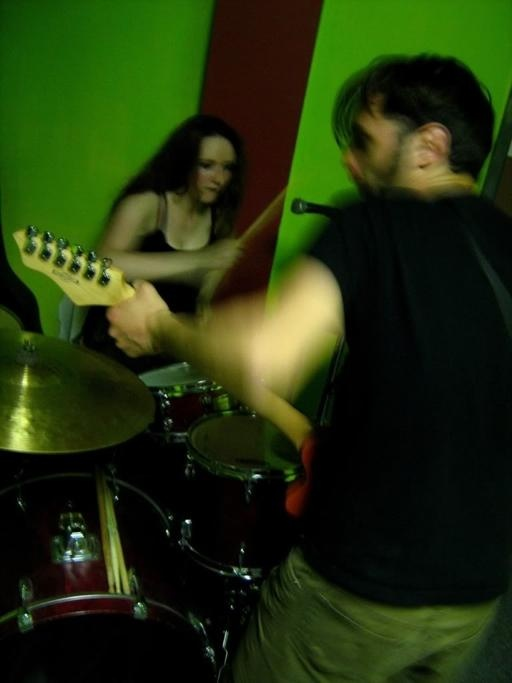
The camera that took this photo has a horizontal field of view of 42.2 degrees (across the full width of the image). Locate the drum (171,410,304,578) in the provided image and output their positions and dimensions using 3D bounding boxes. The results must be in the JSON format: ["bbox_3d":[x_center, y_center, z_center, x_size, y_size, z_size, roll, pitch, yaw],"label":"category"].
[{"bbox_3d":[-0.072,0.416,1.910,0.321,0.353,0.345,7,19,-13],"label":"drum"}]
